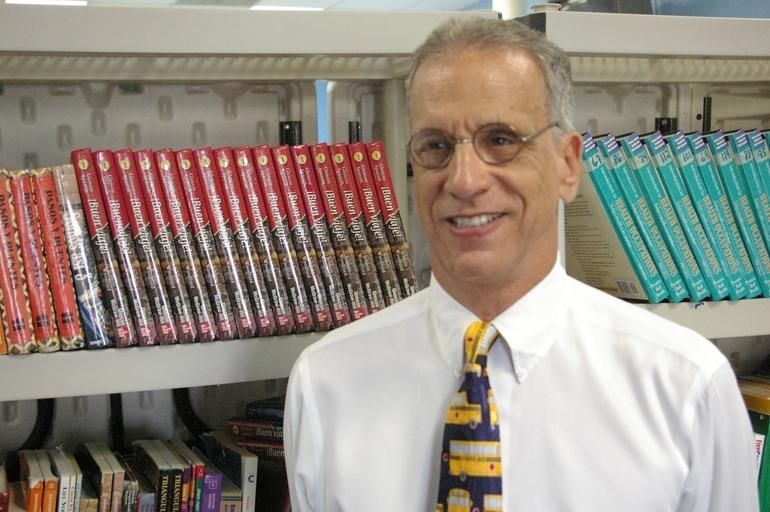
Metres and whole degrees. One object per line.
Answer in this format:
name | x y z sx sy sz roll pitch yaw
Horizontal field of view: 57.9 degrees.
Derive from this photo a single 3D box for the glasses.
glasses | 0.213 -0.232 1.458 0.321 0.092 0.076 -3 -1 -2
